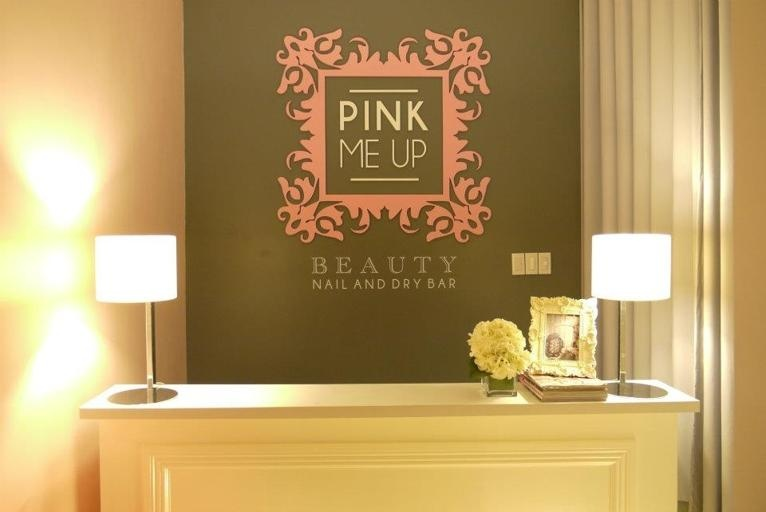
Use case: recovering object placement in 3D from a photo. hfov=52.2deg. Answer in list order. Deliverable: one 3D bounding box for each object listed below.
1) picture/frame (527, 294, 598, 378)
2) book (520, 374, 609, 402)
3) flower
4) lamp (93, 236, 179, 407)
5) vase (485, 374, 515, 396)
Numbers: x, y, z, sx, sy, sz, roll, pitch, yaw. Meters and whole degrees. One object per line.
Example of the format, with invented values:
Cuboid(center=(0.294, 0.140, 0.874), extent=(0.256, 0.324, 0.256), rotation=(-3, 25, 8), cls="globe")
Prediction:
Cuboid(center=(0.939, 0.432, 4.096), extent=(0.427, 0.546, 0.061), rotation=(0, -1, 9), cls="picture/frame")
Cuboid(center=(0.929, 0.678, 4.053), extent=(0.443, 0.193, 0.170), rotation=(-10, -14, 12), cls="book")
Cuboid(center=(0.534, 0.477, 4.126), extent=(0.317, 0.207, 0.340), rotation=(-15, 1, 5), cls="flower")
Cuboid(center=(-1.291, 0.306, 4.096), extent=(0.399, 0.929, 0.342), rotation=(-1, -14, -20), cls="lamp")
Cuboid(center=(0.612, 0.676, 4.108), extent=(0.108, 0.116, 0.114), rotation=(0, -8, 0), cls="vase")
